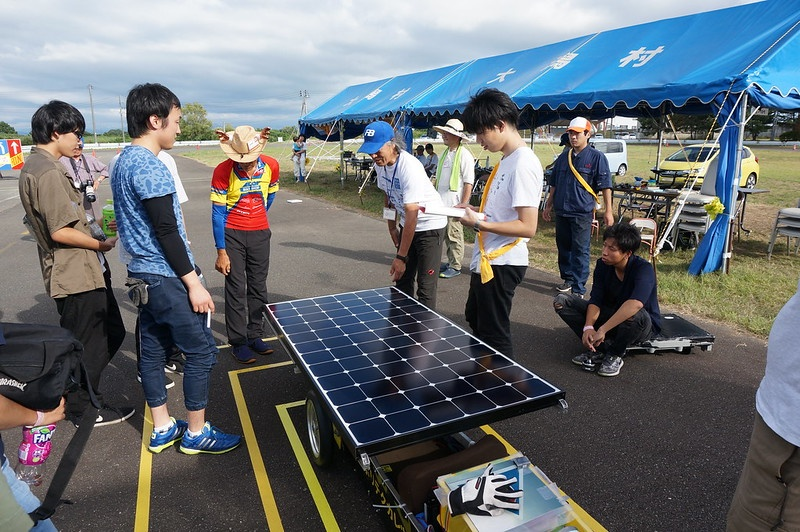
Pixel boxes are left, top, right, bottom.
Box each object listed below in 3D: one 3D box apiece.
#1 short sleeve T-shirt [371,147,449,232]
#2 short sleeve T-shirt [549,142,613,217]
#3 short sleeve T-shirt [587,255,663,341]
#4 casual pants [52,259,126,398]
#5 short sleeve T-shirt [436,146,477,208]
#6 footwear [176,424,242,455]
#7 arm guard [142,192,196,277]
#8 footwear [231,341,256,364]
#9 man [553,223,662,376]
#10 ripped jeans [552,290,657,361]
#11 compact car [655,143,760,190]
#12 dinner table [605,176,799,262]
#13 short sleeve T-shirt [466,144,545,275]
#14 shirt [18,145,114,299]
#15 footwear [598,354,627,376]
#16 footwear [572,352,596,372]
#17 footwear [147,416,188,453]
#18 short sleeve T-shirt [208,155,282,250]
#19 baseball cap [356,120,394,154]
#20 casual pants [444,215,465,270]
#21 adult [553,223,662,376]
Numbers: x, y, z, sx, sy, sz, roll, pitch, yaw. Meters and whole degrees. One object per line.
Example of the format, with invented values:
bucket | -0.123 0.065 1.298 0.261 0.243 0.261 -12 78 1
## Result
short sleeve T-shirt | 0.093 -0.787 5.103 0.751 0.872 0.770 5 18 9
short sleeve T-shirt | 2.775 -1.354 7.494 0.920 1.055 0.686 15 22 36
short sleeve T-shirt | 2.572 0.309 5.738 0.902 0.965 0.793 -6 7 -32
casual pants | -2.992 0.483 4.750 0.368 1.423 0.468 11 24 7
short sleeve T-shirt | 0.844 -1.545 8.253 0.766 0.994 0.364 6 6 37
footwear | -1.691 1.561 4.352 0.585 0.284 0.226 1 5 -18
arm guard | -1.871 -0.247 3.874 0.372 0.662 0.198 12 20 29
footwear | -1.835 1.004 5.612 0.158 0.125 0.320 -9 17 -41
man | 2.383 0.329 5.473 1.212 1.532 1.105 0 8 10
ripped jeans | 2.294 0.669 5.467 0.830 0.412 0.867 -15 16 -16
compact car | 9.957 -3.227 15.670 3.369 1.547 1.886 -6 12 -29
dinner table | 5.990 -0.939 9.574 1.633 0.598 2.523 -14 3 -23
short sleeve T-shirt | 0.936 -0.482 4.245 0.533 1.144 0.358 5 18 9
shirt | -3.241 -0.438 4.598 0.482 1.286 0.823 -10 15 -40
footwear | 2.361 1.118 5.420 0.144 0.142 0.360 1 1 42
footwear | 2.141 1.095 5.546 0.302 0.127 0.139 0 1 1
footwear | -2.119 1.519 4.451 0.181 0.215 0.488 8 10 17
short sleeve T-shirt | -1.776 -0.763 5.528 0.529 1.000 0.846 24 27 37
baseball cap | -0.267 -1.371 4.952 0.316 0.240 0.483 10 41 22
casual pants | 0.890 -0.470 8.456 0.243 0.873 0.325 -2 -4 -40
adult | 2.366 0.319 5.538 1.177 1.550 1.143 3 9 34
